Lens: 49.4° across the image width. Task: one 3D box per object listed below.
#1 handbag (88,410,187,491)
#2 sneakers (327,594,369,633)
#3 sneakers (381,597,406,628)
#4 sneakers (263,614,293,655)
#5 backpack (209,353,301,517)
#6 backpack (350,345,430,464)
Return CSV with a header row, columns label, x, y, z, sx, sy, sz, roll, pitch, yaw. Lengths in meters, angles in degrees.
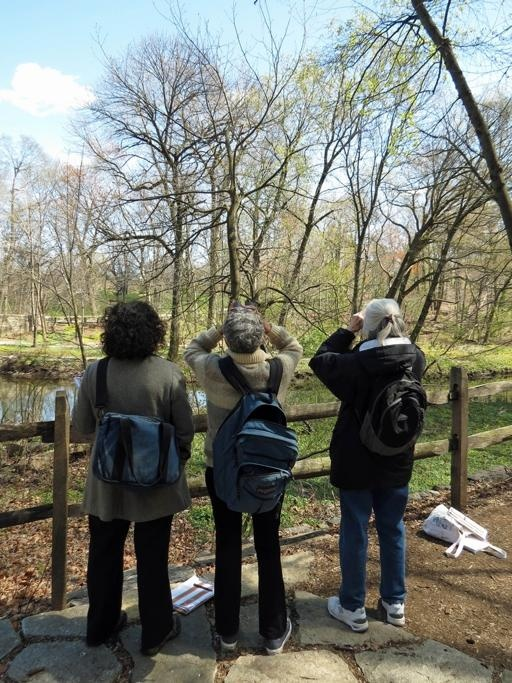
label,x,y,z,sx,sy,sz,roll,pitch,yaw
handbag,-0.578,0.539,2.750,0.476,0.353,0.237,17,-25,-39
sneakers,0.508,1.494,3.096,0.095,0.100,0.245,3,3,-23
sneakers,0.771,1.506,3.137,0.073,0.086,0.203,1,1,0
sneakers,0.119,1.515,2.901,0.071,0.071,0.188,1,22,15
backpack,-0.010,0.479,2.782,0.407,0.812,0.348,-1,1,-6
backpack,0.768,0.396,3.099,0.356,0.466,0.286,-5,24,-25
